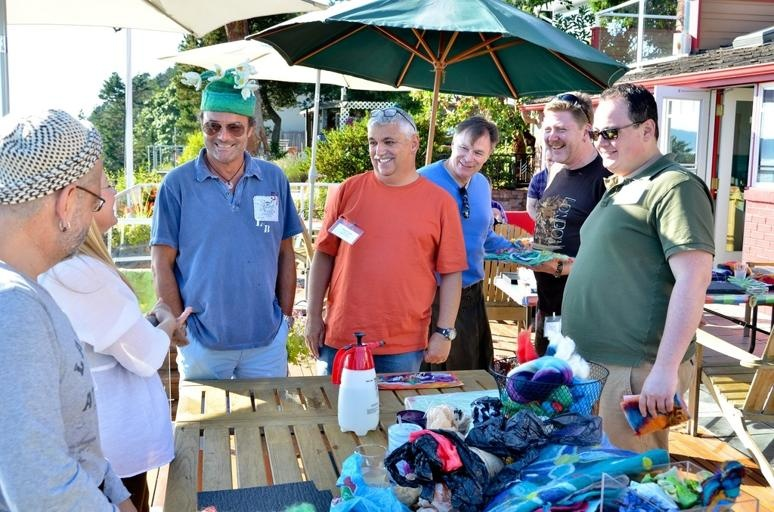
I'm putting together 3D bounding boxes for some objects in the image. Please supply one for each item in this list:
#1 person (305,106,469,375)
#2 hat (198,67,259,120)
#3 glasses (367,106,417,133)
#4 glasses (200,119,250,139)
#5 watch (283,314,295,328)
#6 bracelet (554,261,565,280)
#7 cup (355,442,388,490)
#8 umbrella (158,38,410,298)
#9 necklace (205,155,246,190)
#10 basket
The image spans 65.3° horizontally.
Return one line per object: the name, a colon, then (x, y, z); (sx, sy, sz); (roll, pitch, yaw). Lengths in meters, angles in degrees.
person: (-0.031, -0.076, 3.220); (0.896, 1.410, 0.381); (-1, 9, 6)
hat: (-0.868, -0.849, 3.244); (0.255, 0.203, 0.278); (-2, 7, -34)
glasses: (0.026, -0.737, 3.241); (0.239, 0.155, 0.307); (-2, 8, -1)
glasses: (-0.835, -0.669, 3.164); (0.247, 0.104, 0.107); (-4, 9, -15)
watch: (-0.568, 0.379, 3.509); (0.053, 0.066, 0.068); (-3, -7, -8)
bracelet: (1.035, 0.094, 3.675); (0.040, 0.083, 0.064); (15, 15, -3)
cup: (-0.038, 0.640, 1.855); (0.088, 0.136, 0.088); (-2, 3, 0)
umbrella: (-1.262, -1.171, 6.861); (2.593, 2.127, 2.549); (4, 8, -11)
necklace: (-0.852, -0.453, 3.190); (0.155, 0.177, 0.205); (-1, -13, -9)
basket: (0.576, 0.431, 1.991); (0.393, 0.197, 0.207); (-4, 9, -17)
